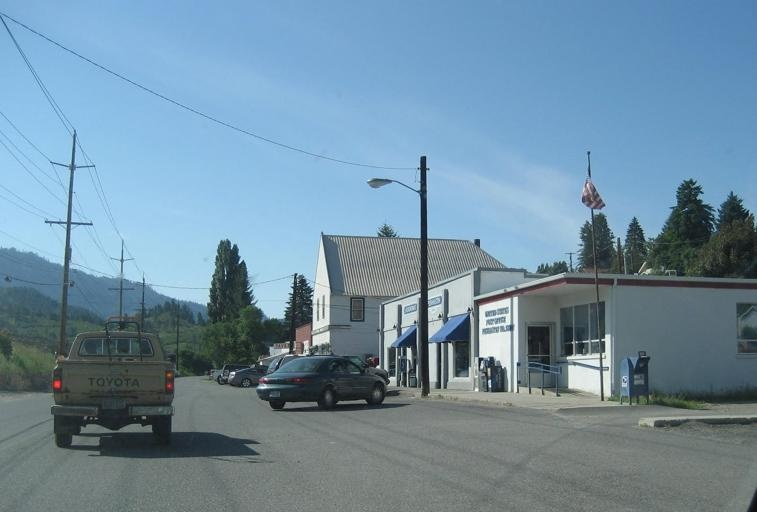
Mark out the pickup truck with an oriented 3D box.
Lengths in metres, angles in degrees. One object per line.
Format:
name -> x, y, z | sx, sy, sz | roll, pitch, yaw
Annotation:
pickup truck -> -6.866, 3.235, 21.394 | 2.712, 3.333, 5.433 | 3, -7, -17

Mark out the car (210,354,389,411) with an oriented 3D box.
car -> -1.956, 4.521, 28.539 | 4.437, 1.832, 1.196 | 10, -15, -38

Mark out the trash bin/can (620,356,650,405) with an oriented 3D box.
trash bin/can -> 8.726, 4.171, 27.461 | 0.882, 1.718, 1.043 | -1, -11, 5

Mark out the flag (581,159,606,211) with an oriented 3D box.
flag -> 8.040, -2.722, 30.686 | 0.806, 2.304, 0.162 | -2, -28, 7
